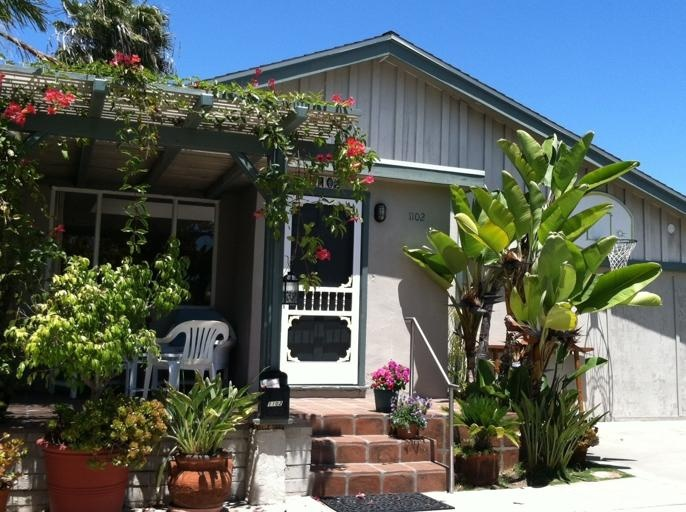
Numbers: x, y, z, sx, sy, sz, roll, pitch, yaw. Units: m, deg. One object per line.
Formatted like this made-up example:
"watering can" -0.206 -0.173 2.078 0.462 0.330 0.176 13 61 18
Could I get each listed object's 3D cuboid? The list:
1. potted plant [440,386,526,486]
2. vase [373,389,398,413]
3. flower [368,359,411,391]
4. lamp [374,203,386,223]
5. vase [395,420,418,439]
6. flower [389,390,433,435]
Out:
"potted plant" 1.822 2.350 8.667 0.946 1.191 1.061 0 -8 18
"vase" 0.543 1.909 8.818 0.234 0.228 0.280 1 -18 0
"flower" 0.591 1.585 8.987 0.426 0.395 0.372 -8 -11 44
"lamp" 0.549 -0.672 10.393 0.247 0.410 0.114 3 -4 -36
"vase" 0.807 2.228 8.476 0.287 0.197 0.207 1 -11 10
"flower" 0.846 2.010 8.606 0.440 0.475 0.473 4 -10 -17
